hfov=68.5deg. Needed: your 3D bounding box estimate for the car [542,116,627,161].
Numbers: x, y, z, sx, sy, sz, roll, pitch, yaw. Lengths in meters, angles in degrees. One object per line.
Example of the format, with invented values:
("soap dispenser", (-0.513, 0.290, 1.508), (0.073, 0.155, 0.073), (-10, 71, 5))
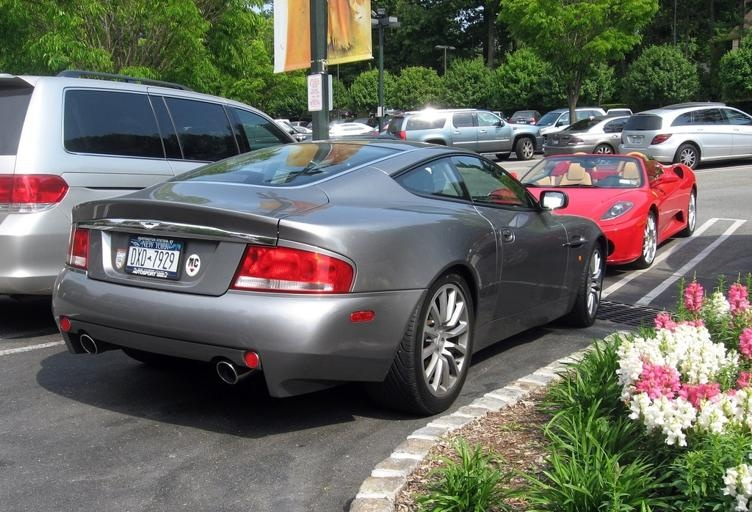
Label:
("car", (8.494, -4.917, 22.706), (3.851, 1.260, 1.663), (-13, 14, -26))
